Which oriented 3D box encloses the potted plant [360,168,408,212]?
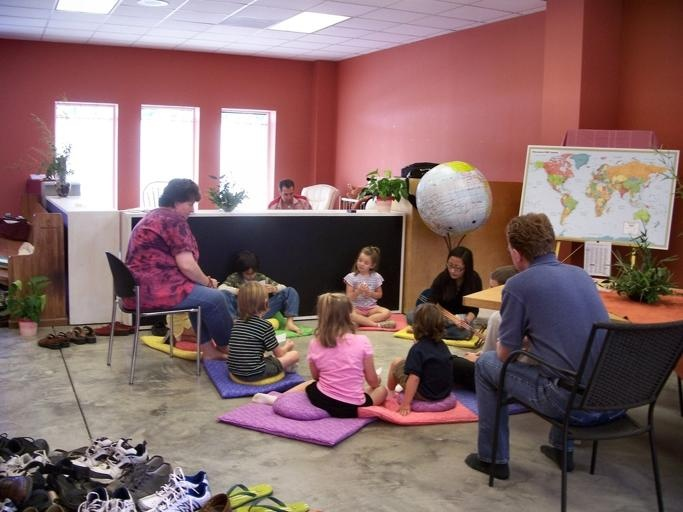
[{"bbox_3d":[0.499,-0.710,5.762,0.539,0.363,0.530,-2,4,-27],"label":"potted plant"}]

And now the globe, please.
[{"bbox_3d":[0.993,-0.520,5.178,0.718,0.842,0.714,-3,2,27],"label":"globe"}]

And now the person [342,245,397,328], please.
[{"bbox_3d":[0.283,0.314,5.061,0.565,0.752,0.642,3,8,13],"label":"person"}]

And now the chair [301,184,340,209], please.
[{"bbox_3d":[-0.370,-0.904,7.872,0.427,0.582,0.510,3,3,17],"label":"chair"}]

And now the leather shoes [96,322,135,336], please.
[{"bbox_3d":[-2.084,0.665,4.684,0.326,0.094,0.235,1,3,33],"label":"leather shoes"}]

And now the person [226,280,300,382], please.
[{"bbox_3d":[-0.597,0.567,3.845,0.544,0.690,0.524,10,15,33],"label":"person"}]

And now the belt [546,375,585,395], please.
[{"bbox_3d":[0.958,0.548,2.203,0.068,0.034,0.088,12,9,-34],"label":"belt"}]

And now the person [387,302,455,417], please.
[{"bbox_3d":[0.543,0.627,3.195,0.414,0.705,0.175,-1,10,-14],"label":"person"}]

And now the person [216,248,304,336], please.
[{"bbox_3d":[-0.756,0.333,4.652,0.710,0.745,0.710,-5,-3,-8],"label":"person"}]

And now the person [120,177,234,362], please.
[{"bbox_3d":[-1.247,0.128,4.008,0.879,1.381,0.658,-2,6,-32],"label":"person"}]

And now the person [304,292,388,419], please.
[{"bbox_3d":[0.037,0.679,3.428,0.695,0.822,0.537,2,8,13],"label":"person"}]

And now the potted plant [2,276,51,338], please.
[{"bbox_3d":[-2.814,0.438,4.662,0.327,0.486,0.378,-4,11,-29],"label":"potted plant"}]

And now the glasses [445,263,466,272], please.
[{"bbox_3d":[0.982,0.092,4.503,0.090,0.092,0.118,14,11,38],"label":"glasses"}]
